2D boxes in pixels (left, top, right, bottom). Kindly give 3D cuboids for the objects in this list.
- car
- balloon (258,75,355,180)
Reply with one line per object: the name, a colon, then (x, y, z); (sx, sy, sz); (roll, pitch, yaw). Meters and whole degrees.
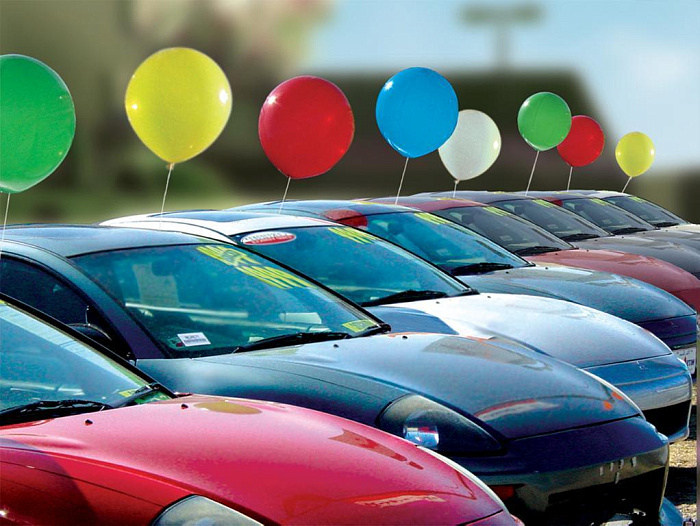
car: (0.001, 0.414, 3.487); (3.507, 0.678, 1.475); (1, 2, 28)
balloon: (-0.364, -1.141, 6.437); (0.714, 0.796, 0.624); (-9, -33, 10)
